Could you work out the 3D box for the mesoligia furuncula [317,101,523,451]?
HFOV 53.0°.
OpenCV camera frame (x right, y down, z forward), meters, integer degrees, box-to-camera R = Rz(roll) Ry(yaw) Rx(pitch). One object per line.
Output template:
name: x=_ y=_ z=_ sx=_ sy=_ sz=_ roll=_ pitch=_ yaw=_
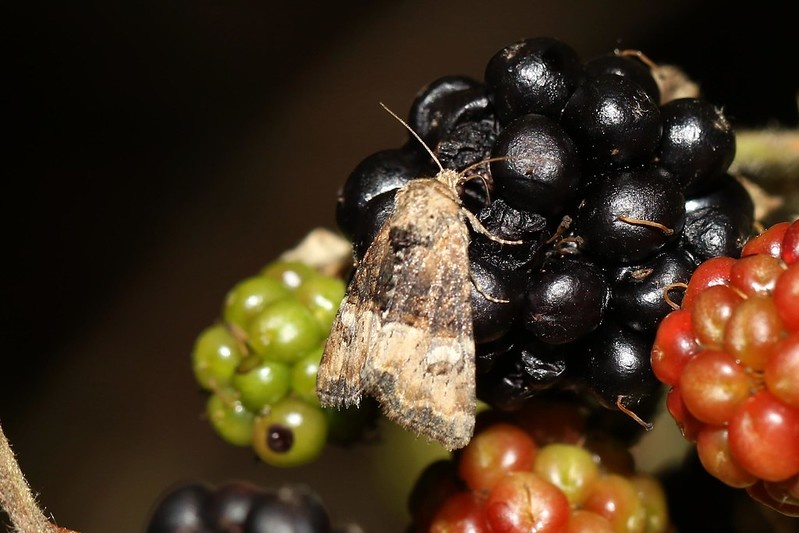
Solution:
mesoligia furuncula: x=0.048 y=0.035 z=2.760 sx=0.614 sy=0.312 sz=1.008 roll=7 pitch=76 yaw=23
